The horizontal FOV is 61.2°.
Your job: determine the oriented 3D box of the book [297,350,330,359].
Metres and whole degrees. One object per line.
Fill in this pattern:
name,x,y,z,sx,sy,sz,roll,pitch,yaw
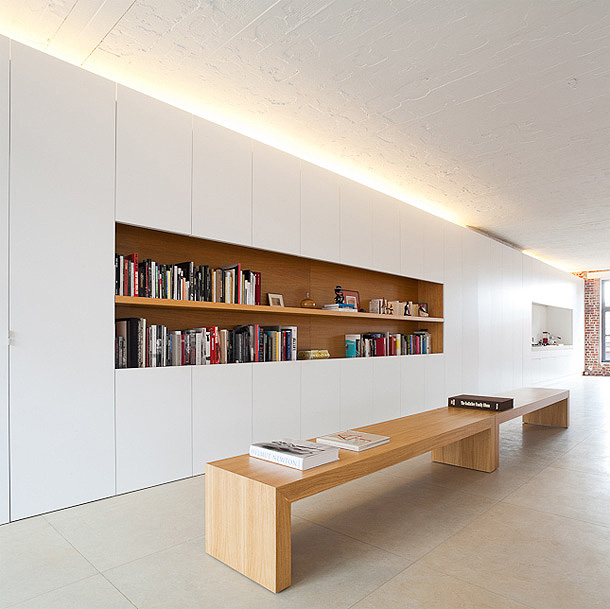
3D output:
book,0.084,0.467,4.785,0.301,0.077,0.165,1,-2,-12

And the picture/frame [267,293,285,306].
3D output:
picture/frame,-0.275,-0.046,4.654,0.014,0.095,0.145,-19,-13,34

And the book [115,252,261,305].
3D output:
book,-0.882,-0.172,3.712,0.173,0.305,1.085,-1,-2,43
